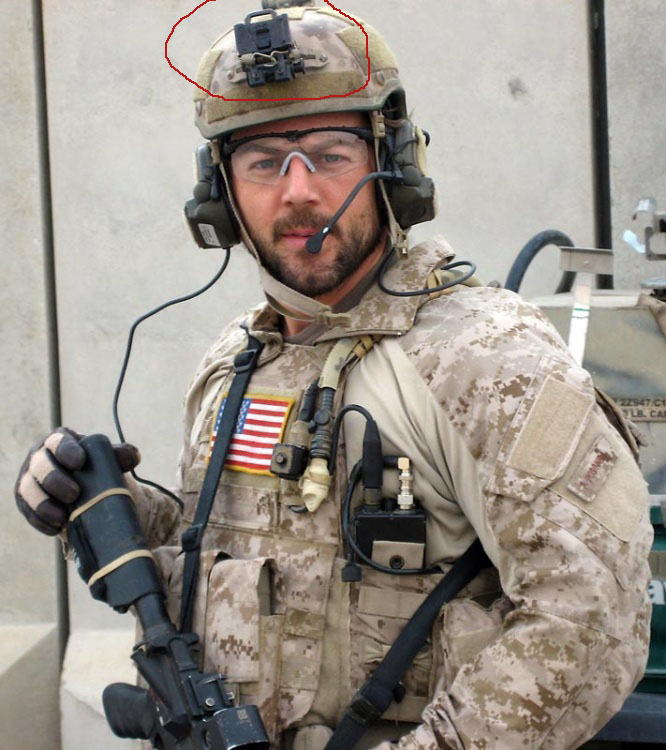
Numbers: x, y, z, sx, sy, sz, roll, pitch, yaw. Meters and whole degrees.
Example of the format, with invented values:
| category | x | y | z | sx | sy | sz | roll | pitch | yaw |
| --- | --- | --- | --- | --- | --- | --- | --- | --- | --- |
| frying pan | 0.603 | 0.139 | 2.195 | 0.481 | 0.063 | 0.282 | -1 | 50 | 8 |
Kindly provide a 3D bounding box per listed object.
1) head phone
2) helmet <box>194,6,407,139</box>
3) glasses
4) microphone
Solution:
| category | x | y | z | sx | sy | sz | roll | pitch | yaw |
| --- | --- | --- | --- | --- | --- | --- | --- | --- | --- |
| head phone | -0.049 | -0.482 | 2.512 | 0.551 | 0.404 | 0.192 | -2 | 29 | 5 |
| helmet | -0.065 | -0.592 | 2.382 | 0.301 | 0.203 | 0.336 | -7 | 14 | 22 |
| glasses | -0.055 | -0.440 | 2.405 | 0.216 | 0.134 | 0.251 | 4 | 12 | 25 |
| microphone | 0.068 | -0.349 | 2.385 | 0.206 | 0.168 | 0.231 | 7 | 19 | 24 |
